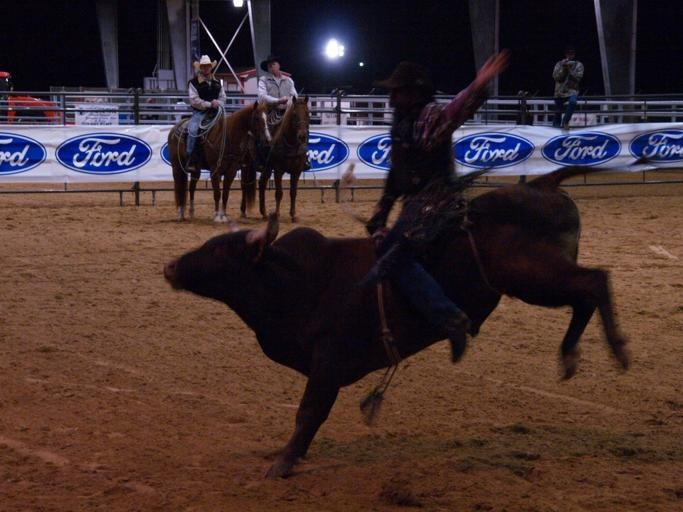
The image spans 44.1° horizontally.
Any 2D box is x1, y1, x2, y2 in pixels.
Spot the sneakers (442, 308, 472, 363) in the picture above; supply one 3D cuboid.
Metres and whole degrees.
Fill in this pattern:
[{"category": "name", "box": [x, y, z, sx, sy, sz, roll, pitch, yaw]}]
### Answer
[{"category": "sneakers", "box": [0.775, 0.566, 5.958, 0.250, 0.350, 0.121, 11, 9, -16]}]
